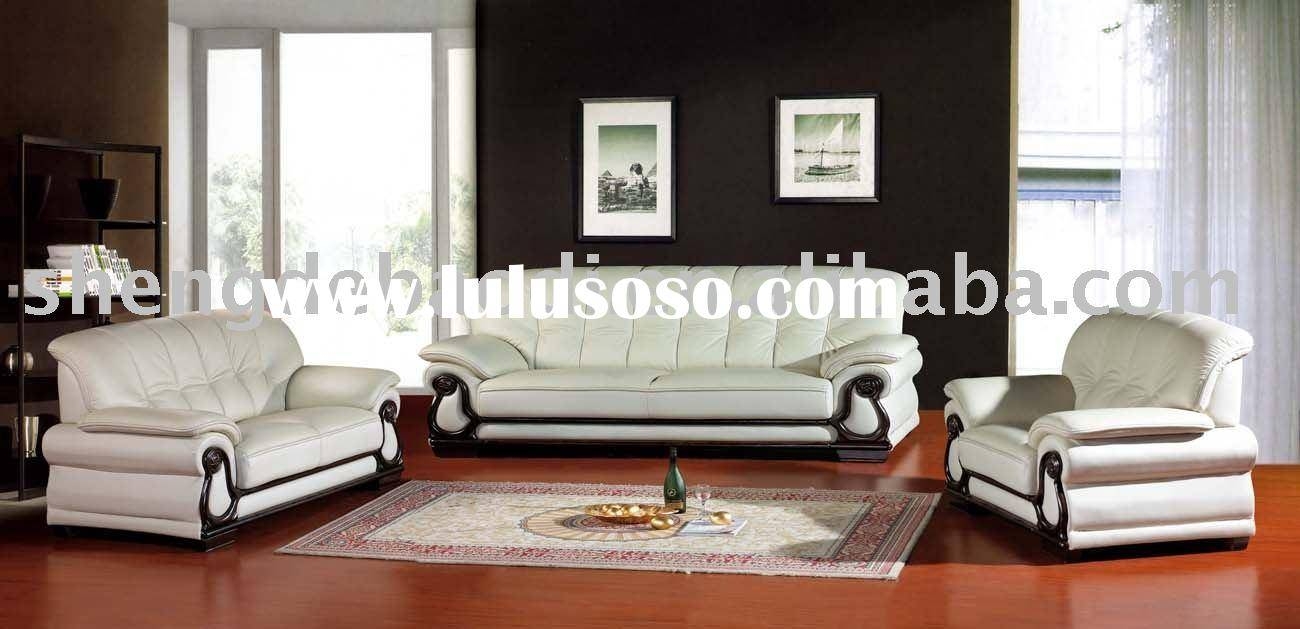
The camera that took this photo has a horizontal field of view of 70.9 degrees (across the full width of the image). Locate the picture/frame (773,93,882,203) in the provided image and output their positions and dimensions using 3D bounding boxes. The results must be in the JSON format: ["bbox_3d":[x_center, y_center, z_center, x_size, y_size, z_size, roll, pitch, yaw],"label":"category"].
[{"bbox_3d":[1.995,-1.890,10.062,1.431,1.214,0.091,0,2,-1],"label":"picture/frame"}]

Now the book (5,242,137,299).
[{"bbox_3d":[-5.127,-0.378,8.224,0.840,0.487,0.384,3,0,-21],"label":"book"}]

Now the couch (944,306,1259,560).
[{"bbox_3d":[3.538,0.862,7.226,1.934,1.705,1.157,-2,8,-7],"label":"couch"}]

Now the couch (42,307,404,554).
[{"bbox_3d":[-3.569,0.878,7.682,1.973,1.668,3.233,0,2,25],"label":"couch"}]
